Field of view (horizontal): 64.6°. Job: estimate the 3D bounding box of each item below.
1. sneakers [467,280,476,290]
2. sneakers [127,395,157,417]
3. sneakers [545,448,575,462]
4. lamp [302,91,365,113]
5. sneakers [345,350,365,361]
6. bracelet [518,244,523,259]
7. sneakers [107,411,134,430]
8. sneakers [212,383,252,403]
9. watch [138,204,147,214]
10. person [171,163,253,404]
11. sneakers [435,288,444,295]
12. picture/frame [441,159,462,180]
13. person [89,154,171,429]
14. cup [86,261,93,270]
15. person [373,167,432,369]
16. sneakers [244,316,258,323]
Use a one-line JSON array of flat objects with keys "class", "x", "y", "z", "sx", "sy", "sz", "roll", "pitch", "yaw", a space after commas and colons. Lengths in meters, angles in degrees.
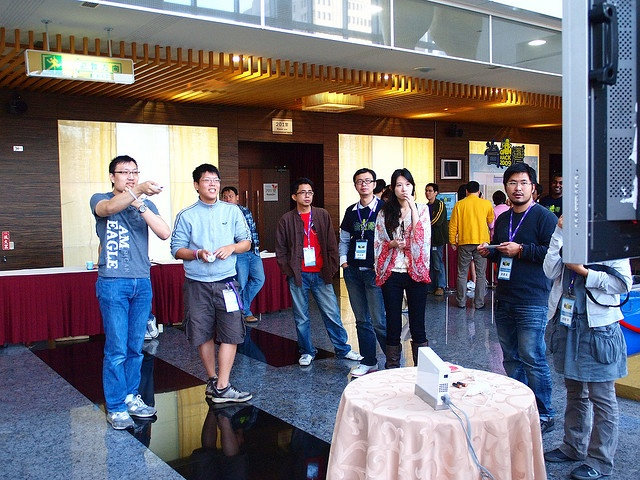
[{"class": "sneakers", "x": 2.936, "y": 0.869, "z": 9.790, "sx": 0.205, "sy": 0.125, "sz": 0.344, "roll": -4, "pitch": 1, "yaw": 10}, {"class": "sneakers", "x": -1.481, "y": 1.406, "z": 4.314, "sx": 0.300, "sy": 0.131, "sz": 0.121, "roll": 3, "pitch": 1, "yaw": 23}, {"class": "sneakers", "x": 1.603, "y": 1.459, "z": 3.413, "sx": 0.210, "sy": 0.092, "sz": 0.082, "roll": 6, "pitch": -9, "yaw": 0}, {"class": "lamp", "x": 0.256, "y": -2.604, "z": 9.435, "sx": 1.136, "sy": 0.235, "sz": 0.590, "roll": -2, "pitch": 6, "yaw": -9}, {"class": "sneakers", "x": 0.387, "y": 1.278, "z": 5.642, "sx": 0.196, "sy": 0.092, "sz": 0.087, "roll": -1, "pitch": 1, "yaw": 11}, {"class": "bracelet", "x": 1.505, "y": 0.079, "z": 3.777, "sx": 0.039, "sy": 0.099, "sz": 0.037, "roll": 1, "pitch": 6, "yaw": 23}, {"class": "sneakers", "x": -1.587, "y": 1.425, "z": 4.050, "sx": 0.236, "sy": 0.101, "sz": 0.103, "roll": -2, "pitch": -2, "yaw": 43}, {"class": "sneakers", "x": -0.799, "y": 1.380, "z": 4.595, "sx": 0.376, "sy": 0.178, "sz": 0.143, "roll": 1, "pitch": -1, "yaw": -10}, {"class": "watch", "x": -1.430, "y": -0.254, "z": 4.074, "sx": 0.067, "sy": 0.076, "sz": 0.036, "roll": -4, "pitch": 6, "yaw": -23}, {"class": "person", "x": -0.931, "y": 0.399, "z": 4.430, "sx": 0.684, "sy": 2.111, "sz": 0.448, "roll": -3, "pitch": 6, "yaw": -17}, {"class": "sneakers", "x": 2.172, "y": 0.922, "z": 9.165, "sx": 0.159, "sy": 0.116, "sz": 0.243, "roll": 0, "pitch": 6, "yaw": 12}, {"class": "picture/frame", "x": 3.350, "y": -1.838, "z": 12.977, "sx": 0.528, "sy": 0.481, "sz": 0.041, "roll": 2, "pitch": -5, "yaw": -34}, {"class": "person", "x": -1.542, "y": 0.402, "z": 4.153, "sx": 0.541, "sy": 2.193, "sz": 0.588, "roll": -4, "pitch": 6, "yaw": -25}, {"class": "cup", "x": -3.081, "y": 0.335, "z": 6.749, "sx": 0.116, "sy": 0.131, "sz": 0.121, "roll": 1, "pitch": -5, "yaw": 0}, {"class": "person", "x": 0.750, "y": 0.281, "z": 4.665, "sx": 0.512, "sy": 1.857, "sz": 0.308, "roll": 0, "pitch": 6, "yaw": 13}, {"class": "sneakers", "x": -1.013, "y": 1.164, "z": 7.477, "sx": 0.169, "sy": 0.076, "sz": 0.089, "roll": -9, "pitch": -6, "yaw": 35}]
